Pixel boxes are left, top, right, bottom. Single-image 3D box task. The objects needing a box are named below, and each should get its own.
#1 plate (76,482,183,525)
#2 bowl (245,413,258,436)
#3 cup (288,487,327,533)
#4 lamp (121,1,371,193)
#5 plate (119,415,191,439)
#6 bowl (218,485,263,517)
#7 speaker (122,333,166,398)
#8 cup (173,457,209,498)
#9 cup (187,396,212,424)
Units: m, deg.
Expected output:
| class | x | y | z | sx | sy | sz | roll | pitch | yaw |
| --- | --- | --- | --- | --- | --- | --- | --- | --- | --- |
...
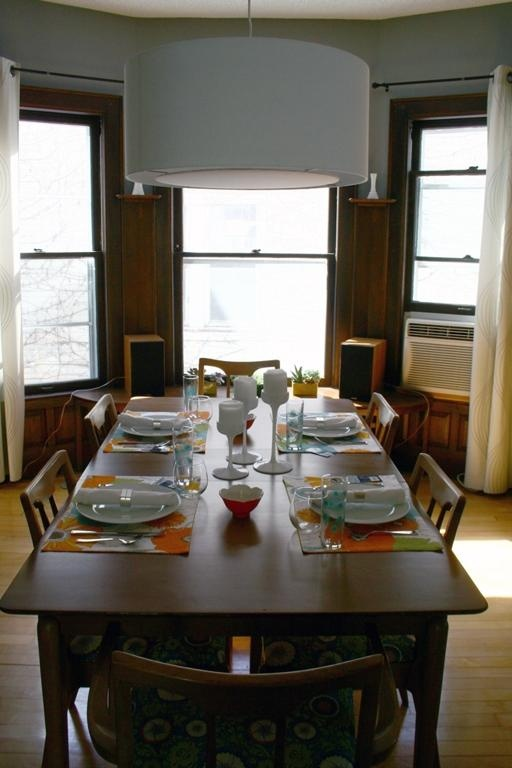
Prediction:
| class | x | y | z | sx | sy | sz | roll | pitch | yaw |
| --- | --- | --- | --- | --- | --- | --- | --- | --- | --- |
| plate | -0.310 | 0.288 | 1.348 | 0.121 | 0.033 | 0.124 | 3 | 17 | 7 |
| bowl | -0.022 | 0.143 | 2.077 | 0.042 | 0.038 | 0.048 | 16 | 29 | 24 |
| cup | 0.128 | 0.315 | 1.413 | 0.060 | 0.084 | 0.082 | 0 | 7 | -1 |
| lamp | -0.005 | -0.655 | 1.293 | 0.565 | 0.403 | 0.472 | -2 | 11 | -12 |
| plate | -0.392 | 0.143 | 2.079 | 0.150 | 0.025 | 0.168 | 1 | 18 | -2 |
| bowl | -0.036 | 0.274 | 1.379 | 0.077 | 0.046 | 0.082 | -1 | 23 | 0 |
| speaker | -0.675 | -0.040 | 3.608 | 0.221 | 0.386 | 0.226 | 3 | -30 | -18 |
| cup | -0.171 | 0.245 | 1.510 | 0.087 | 0.095 | 0.093 | -1 | 11 | 0 |
| cup | -0.211 | 0.092 | 2.148 | 0.088 | 0.094 | 0.092 | 0 | 15 | 0 |
